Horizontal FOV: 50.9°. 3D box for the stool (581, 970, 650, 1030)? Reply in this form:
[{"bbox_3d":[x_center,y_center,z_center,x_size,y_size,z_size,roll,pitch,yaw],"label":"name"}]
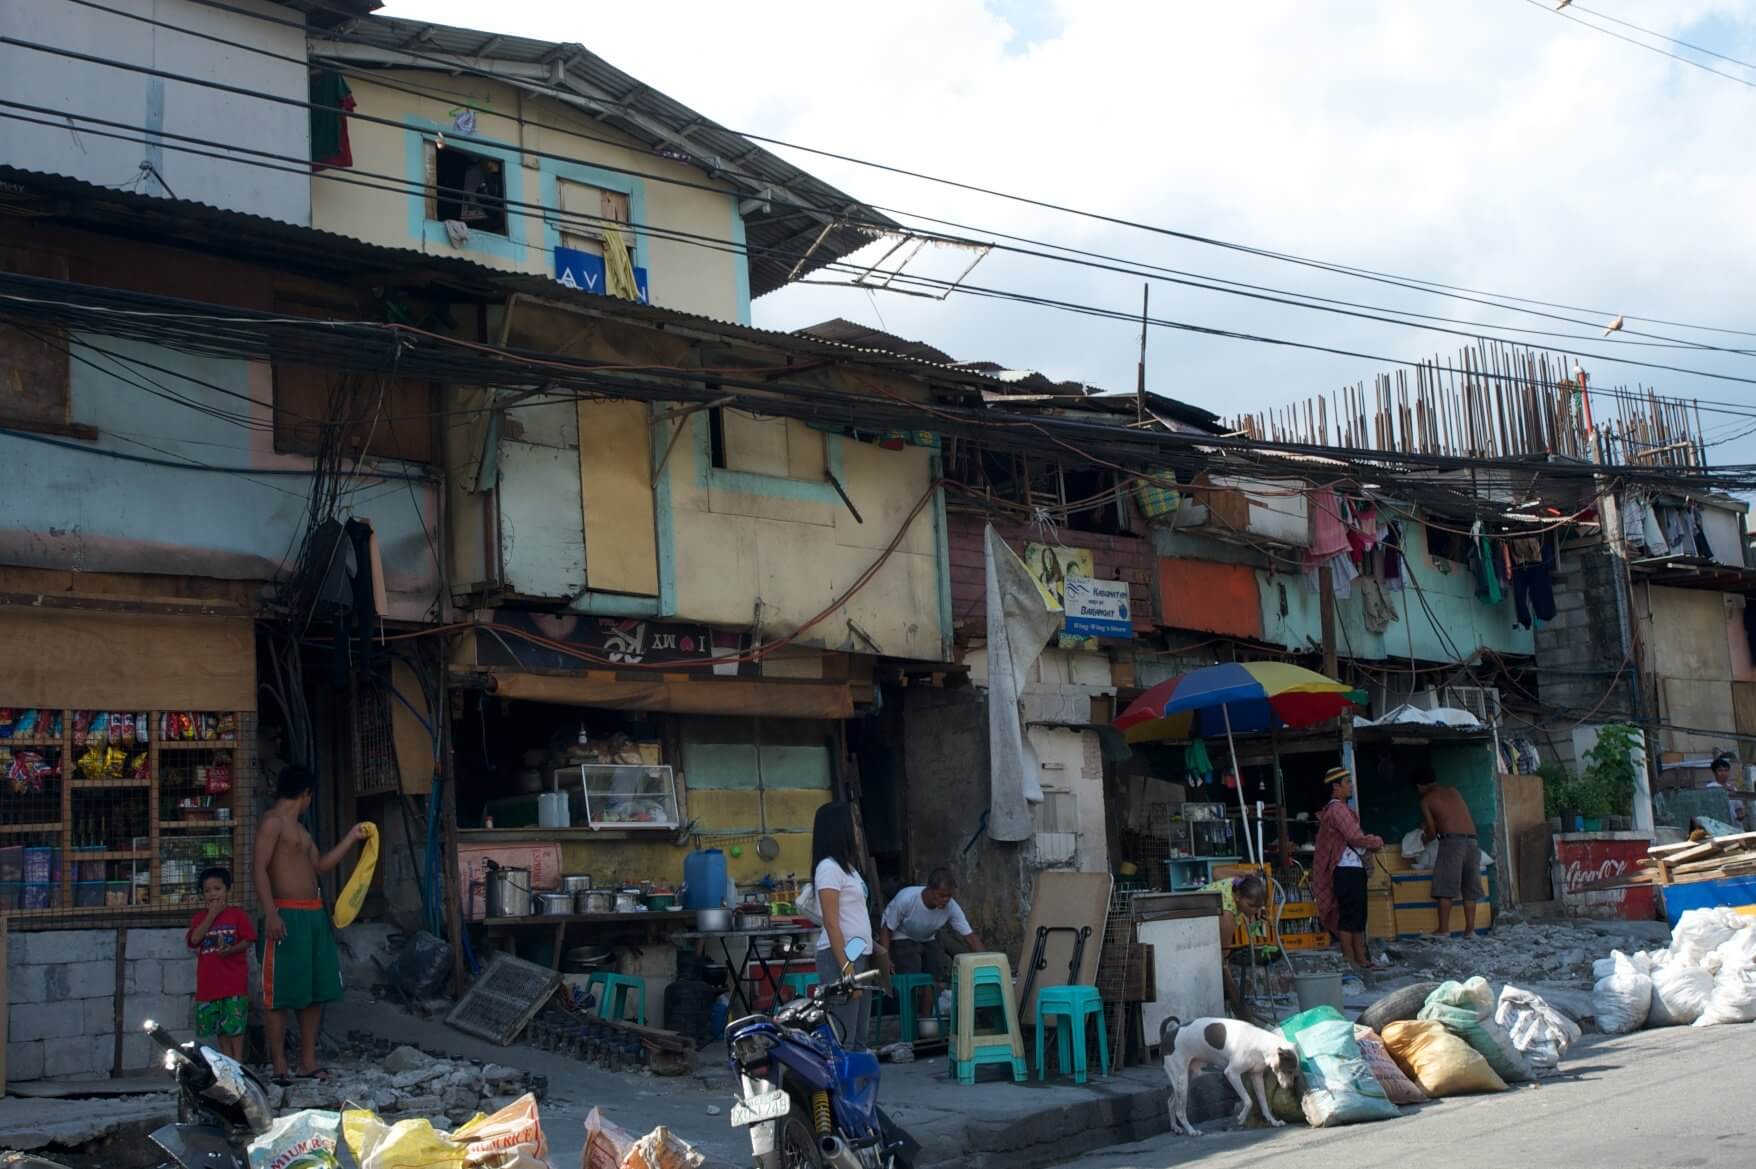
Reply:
[{"bbox_3d":[-2.845,4.510,19.941,0.579,0.562,0.552,4,-13,-32],"label":"stool"}]

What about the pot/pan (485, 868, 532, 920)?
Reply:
[{"bbox_3d":[-3.897,3.258,19.427,0.467,0.463,0.436,1,-8,-16],"label":"pot/pan"}]

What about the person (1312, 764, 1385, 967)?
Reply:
[{"bbox_3d":[5.645,3.453,22.269,0.770,2.545,1.498,-6,-13,13],"label":"person"}]

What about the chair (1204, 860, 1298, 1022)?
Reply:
[{"bbox_3d":[4.270,4.139,21.040,1.061,2.033,1.991,-1,-13,5],"label":"chair"}]

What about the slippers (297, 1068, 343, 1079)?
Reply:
[{"bbox_3d":[-5.130,4.472,16.830,0.337,0.107,0.458,2,-15,-21],"label":"slippers"}]

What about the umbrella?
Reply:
[{"bbox_3d":[4.440,2.051,23.335,2.619,2.709,2.628,-11,-5,-21],"label":"umbrella"}]

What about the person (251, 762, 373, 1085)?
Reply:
[{"bbox_3d":[-5.399,3.107,17.112,0.748,2.841,0.524,1,-14,-17],"label":"person"}]

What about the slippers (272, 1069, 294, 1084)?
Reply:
[{"bbox_3d":[-5.373,4.459,16.665,0.217,0.153,0.283,5,-16,-32],"label":"slippers"}]

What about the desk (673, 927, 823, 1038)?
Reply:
[{"bbox_3d":[-1.495,4.611,20.554,1.308,1.263,1.330,0,-4,-7],"label":"desk"}]
